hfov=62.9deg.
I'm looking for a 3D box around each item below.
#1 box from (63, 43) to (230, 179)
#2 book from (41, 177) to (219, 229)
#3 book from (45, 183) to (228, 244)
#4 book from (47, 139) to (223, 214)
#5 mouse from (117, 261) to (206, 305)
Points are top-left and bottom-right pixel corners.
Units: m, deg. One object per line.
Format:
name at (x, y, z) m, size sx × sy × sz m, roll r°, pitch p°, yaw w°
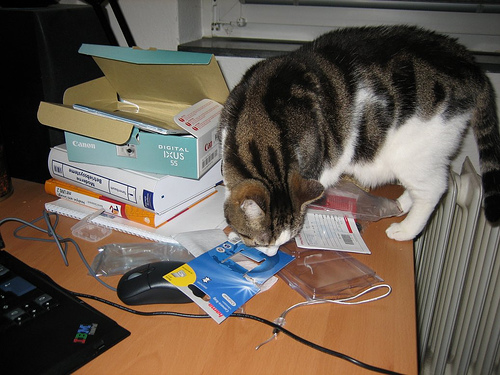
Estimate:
box at (-0.304, -0.244, 1.255) m, size 0.471 × 0.330 × 0.255 m, roll 11°, pitch 31°, yaw 20°
book at (-0.389, 0.049, 1.237) m, size 0.230 × 0.035 × 0.246 m, roll 20°, pitch 29°, yaw 14°
book at (-0.213, 0.010, 1.234) m, size 0.281 × 0.022 × 0.238 m, roll 11°, pitch 11°, yaw 17°
book at (-0.380, -0.027, 1.234) m, size 0.288 × 0.071 × 0.294 m, roll 14°, pitch 21°, yaw 22°
mouse at (-0.217, 0.229, 0.990) m, size 0.191 × 0.060 × 0.094 m, roll 2°, pitch 30°, yaw -11°
